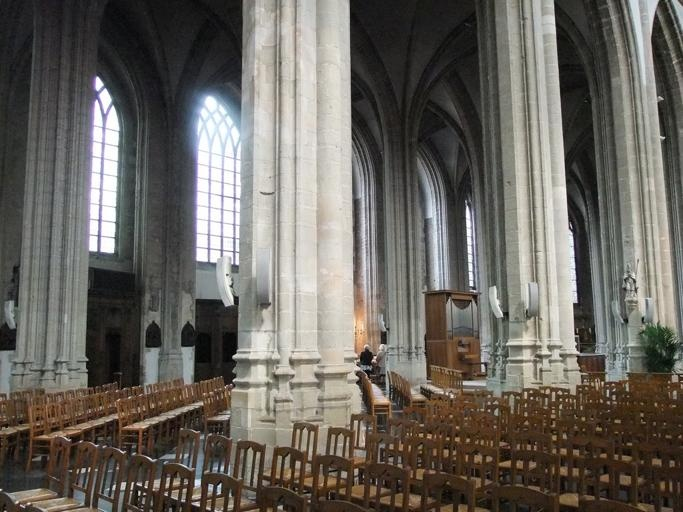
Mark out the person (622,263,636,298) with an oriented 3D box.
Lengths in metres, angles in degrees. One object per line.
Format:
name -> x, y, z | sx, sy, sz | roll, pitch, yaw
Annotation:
person -> 10.522, 0.862, 23.223 | 0.502, 1.289, 0.514 | -8, -13, 25
